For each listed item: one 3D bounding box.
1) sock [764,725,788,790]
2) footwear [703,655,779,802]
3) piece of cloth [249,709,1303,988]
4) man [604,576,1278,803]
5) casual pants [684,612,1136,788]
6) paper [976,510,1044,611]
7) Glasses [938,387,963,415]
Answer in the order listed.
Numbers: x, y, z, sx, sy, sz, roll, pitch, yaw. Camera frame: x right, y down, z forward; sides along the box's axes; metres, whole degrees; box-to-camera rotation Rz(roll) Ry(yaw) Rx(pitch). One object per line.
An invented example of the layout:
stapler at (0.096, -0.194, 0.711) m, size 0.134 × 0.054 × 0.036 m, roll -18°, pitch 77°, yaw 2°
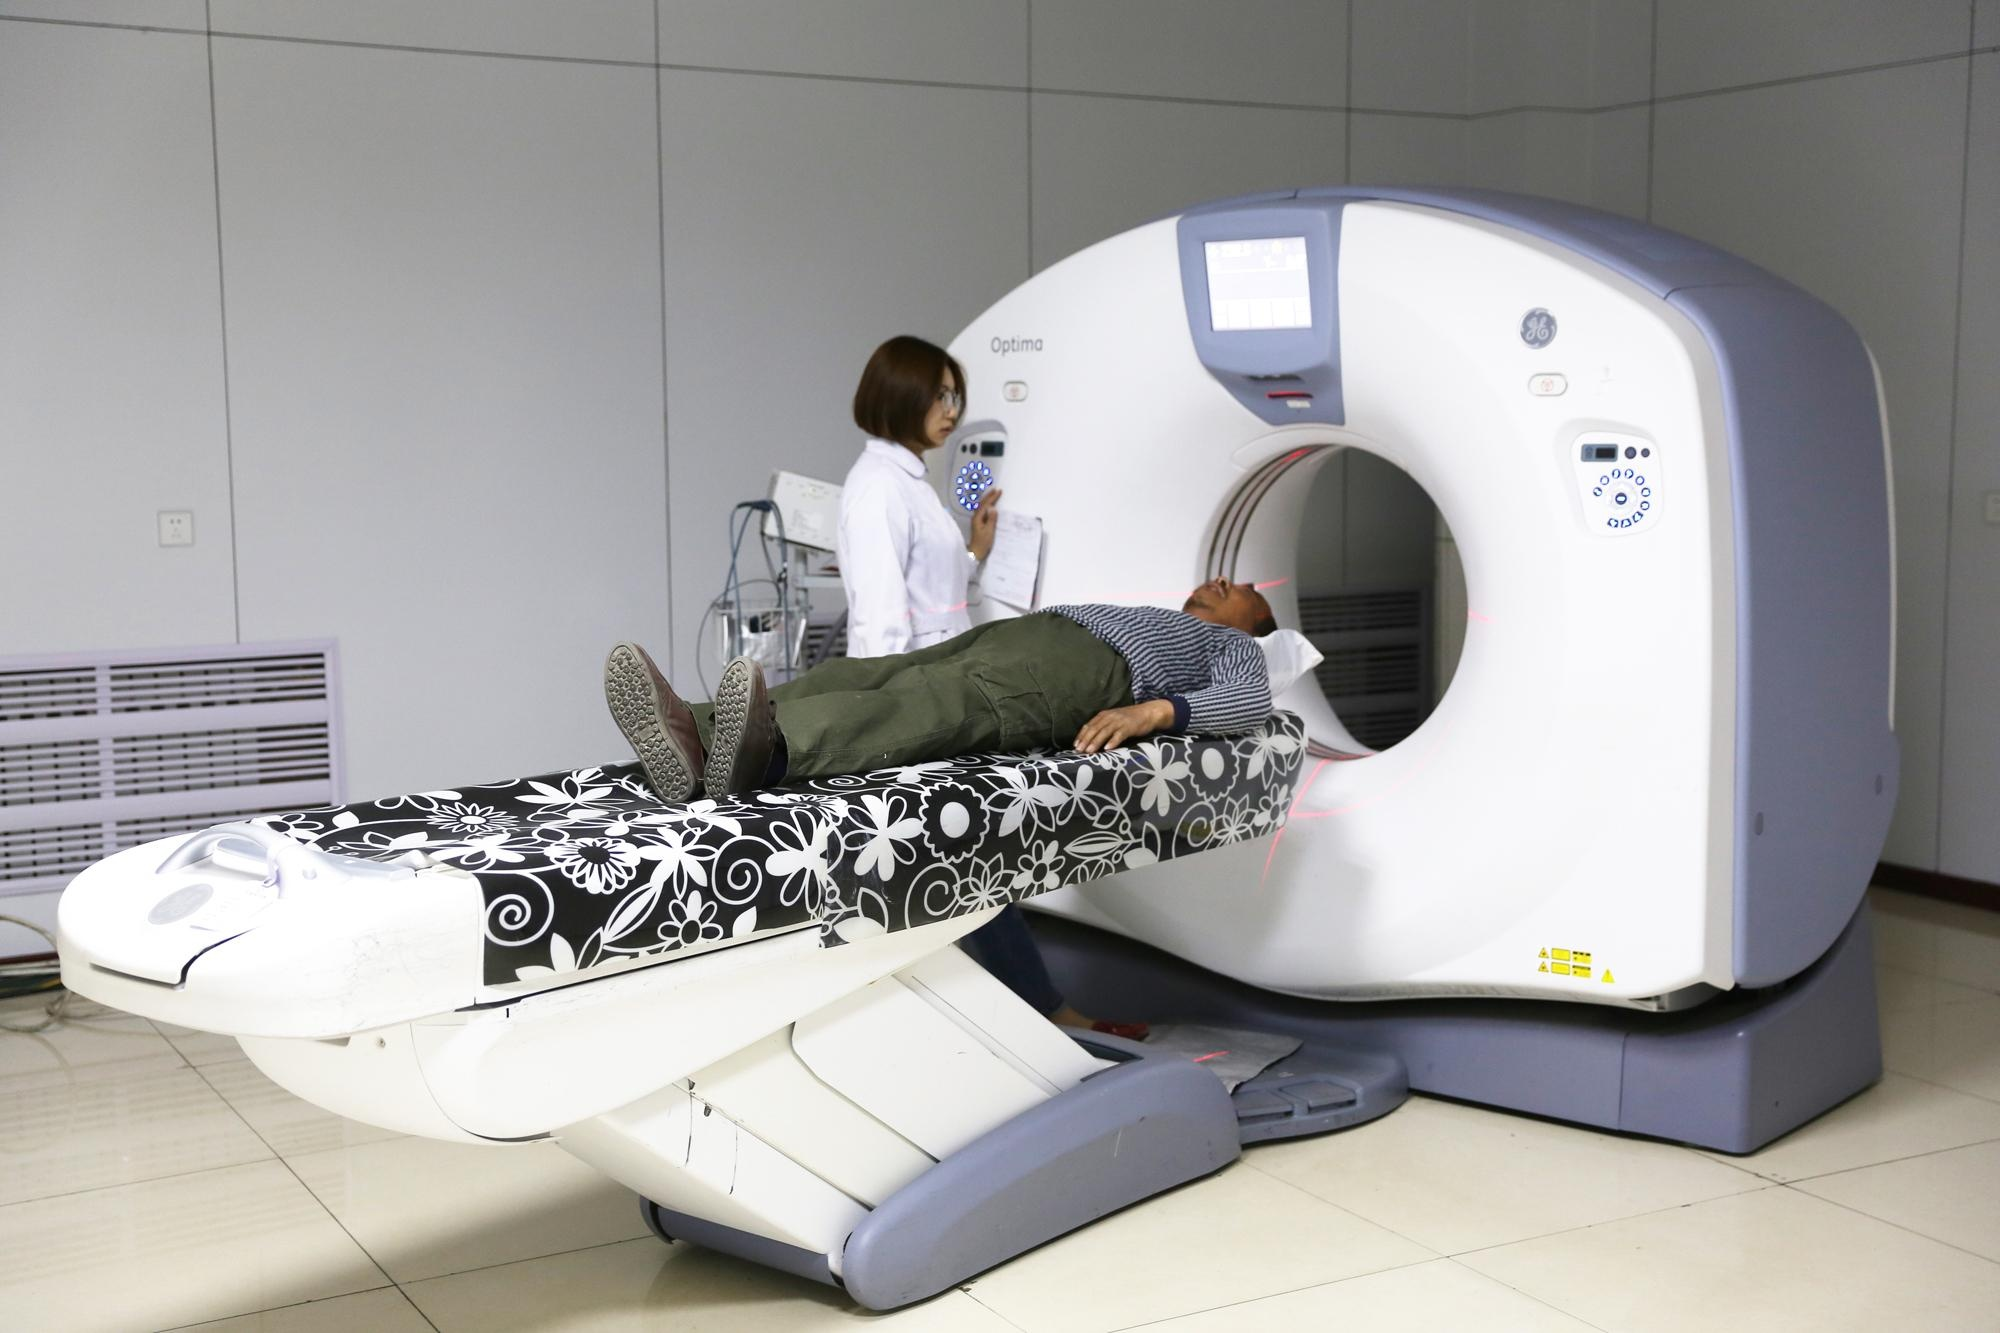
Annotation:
sock at (-0.404, 0.167, 2.793) m, size 0.040 × 0.120 × 0.048 m, roll 9°, pitch 1°, yaw 22°
footwear at (-0.454, 0.115, 2.711) m, size 0.093 × 0.277 × 0.108 m, roll 16°, pitch 17°, yaw 31°
piece of cloth at (-0.203, 0.298, 2.649) m, size 1.317 × 0.190 × 0.627 m, roll -6°, pitch 4°, yaw -36°
man at (-0.029, 0.056, 2.943) m, size 1.028 × 0.250 × 0.568 m, roll -9°, pitch 2°, yaw -30°
casual pants at (-0.099, 0.059, 2.944) m, size 0.631 × 0.189 × 0.363 m, roll -11°, pitch 13°, yaw -18°
paper at (0.038, -0.258, 3.736) m, size 0.211 × 0.218 × 0.051 m, roll 14°, pitch 9°, yaw 34°
Glasses at (-0.113, -0.625, 3.541) m, size 0.017 × 0.053 × 0.051 m, roll 7°, pitch 1°, yaw 35°
